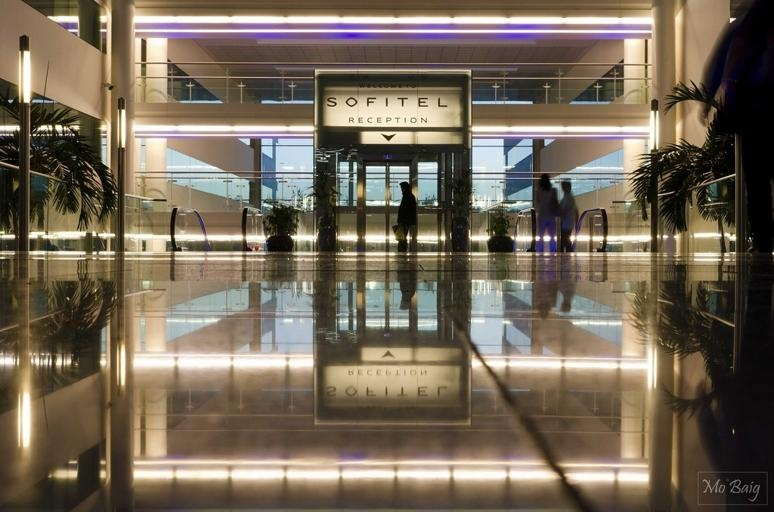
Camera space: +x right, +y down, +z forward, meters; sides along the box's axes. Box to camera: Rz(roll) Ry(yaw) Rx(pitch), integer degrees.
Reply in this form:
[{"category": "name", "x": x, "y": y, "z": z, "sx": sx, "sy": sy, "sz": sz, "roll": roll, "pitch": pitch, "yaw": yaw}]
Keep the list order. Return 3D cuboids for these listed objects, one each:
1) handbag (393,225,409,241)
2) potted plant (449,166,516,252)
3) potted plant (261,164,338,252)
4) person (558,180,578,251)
[{"category": "handbag", "x": 0.242, "y": -0.405, "z": 11.955, "sx": 0.263, "sy": 0.257, "sz": 0.265, "roll": -3, "pitch": 18, "yaw": 0}, {"category": "potted plant", "x": 1.768, "y": -0.846, "z": 12.869, "sx": 1.351, "sy": 1.553, "sz": 0.640, "roll": -7, "pitch": 11, "yaw": -38}, {"category": "potted plant", "x": -1.394, "y": -0.800, "z": 12.593, "sx": 1.738, "sy": 2.146, "sz": 0.998, "roll": -1, "pitch": 7, "yaw": -2}, {"category": "person", "x": 3.285, "y": -0.743, "z": 12.634, "sx": 0.319, "sy": 1.218, "sz": 0.958, "roll": 3, "pitch": 9, "yaw": 14}]
